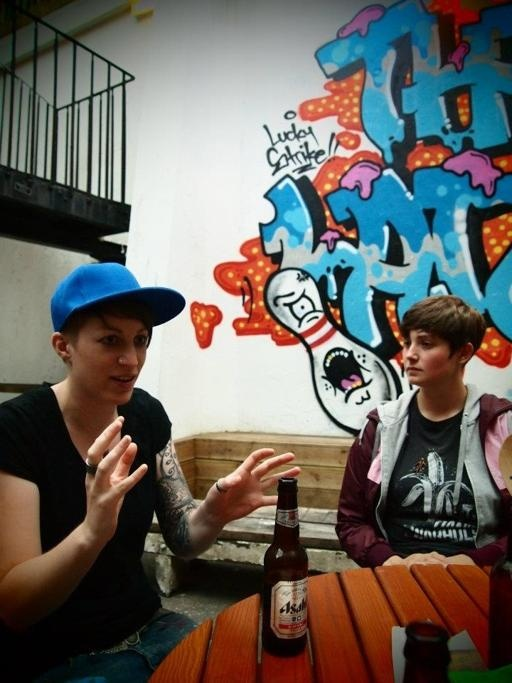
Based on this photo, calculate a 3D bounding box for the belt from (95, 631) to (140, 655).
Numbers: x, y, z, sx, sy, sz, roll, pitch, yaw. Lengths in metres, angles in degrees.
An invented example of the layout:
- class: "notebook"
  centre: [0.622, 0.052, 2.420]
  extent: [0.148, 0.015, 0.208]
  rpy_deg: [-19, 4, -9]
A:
- class: "belt"
  centre: [-0.334, 0.728, 1.267]
  extent: [0.049, 0.018, 0.044]
  rpy_deg: [-41, -12, 24]

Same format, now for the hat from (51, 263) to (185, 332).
- class: "hat"
  centre: [-0.354, -0.132, 1.358]
  extent: [0.290, 0.138, 0.215]
  rpy_deg: [-19, 0, 14]

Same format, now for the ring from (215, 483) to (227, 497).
- class: "ring"
  centre: [-0.084, 0.356, 1.276]
  extent: [0.023, 0.033, 0.040]
  rpy_deg: [-6, -13, -5]

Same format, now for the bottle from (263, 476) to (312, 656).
- class: "bottle"
  centre: [0.045, 0.431, 1.023]
  extent: [0.100, 0.323, 0.222]
  rpy_deg: [-6, -13, -3]

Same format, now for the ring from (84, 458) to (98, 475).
- class: "ring"
  centre: [-0.322, 0.250, 1.038]
  extent: [0.030, 0.028, 0.014]
  rpy_deg: [-17, -16, 39]
